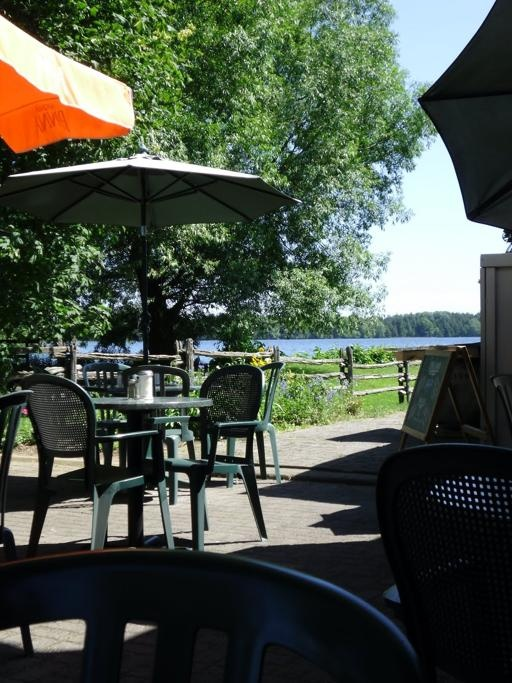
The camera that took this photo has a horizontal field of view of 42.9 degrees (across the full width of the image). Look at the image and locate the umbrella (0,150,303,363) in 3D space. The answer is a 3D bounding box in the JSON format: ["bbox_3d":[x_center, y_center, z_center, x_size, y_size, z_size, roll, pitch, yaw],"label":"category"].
[{"bbox_3d":[-0.995,-0.615,5.746,2.363,1.588,1.979,0,0,6],"label":"umbrella"}]

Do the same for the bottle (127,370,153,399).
[{"bbox_3d":[-0.719,0.279,4.111,0.187,0.191,0.123,-2,-5,19],"label":"bottle"}]
